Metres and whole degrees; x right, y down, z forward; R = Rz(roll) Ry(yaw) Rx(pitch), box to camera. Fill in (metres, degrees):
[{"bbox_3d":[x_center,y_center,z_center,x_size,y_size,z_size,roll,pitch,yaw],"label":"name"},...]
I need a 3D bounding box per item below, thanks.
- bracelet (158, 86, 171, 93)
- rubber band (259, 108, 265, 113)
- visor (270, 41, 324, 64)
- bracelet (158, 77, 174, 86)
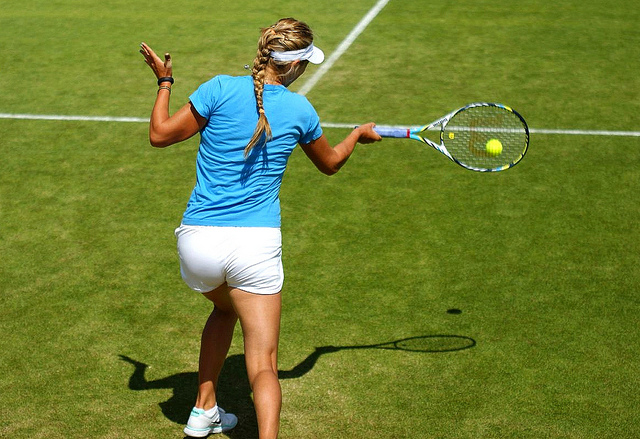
[{"bbox_3d":[-1.047,-0.869,5.096,0.068,0.037,0.094,-1,26,-8],"label":"bracelet"},{"bbox_3d":[-0.370,-0.683,4.798,0.025,0.025,0.028,-1,-15,0],"label":"rubber band"},{"bbox_3d":[-0.141,-1.078,4.955,0.273,0.065,0.153,-6,23,-15],"label":"visor"},{"bbox_3d":[-1.051,-0.943,5.167,0.100,0.058,0.114,-4,27,-13],"label":"bracelet"}]
